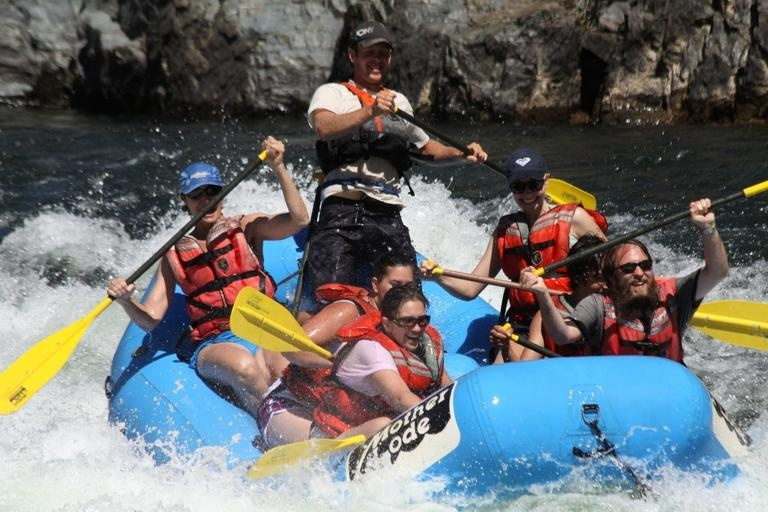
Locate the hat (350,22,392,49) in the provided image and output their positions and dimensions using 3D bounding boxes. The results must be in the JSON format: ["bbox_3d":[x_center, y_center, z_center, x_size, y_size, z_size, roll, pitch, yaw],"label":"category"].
[{"bbox_3d":[-0.115,-1.864,7.275,0.352,0.197,0.260,0,29,-1],"label":"hat"}]

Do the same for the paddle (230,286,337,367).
[{"bbox_3d":[-0.885,0.550,6.783,1.096,0.369,0.118,30,-3,12],"label":"paddle"}]

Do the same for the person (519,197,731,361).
[{"bbox_3d":[1.952,0.236,7.018,1.171,0.505,1.835,-20,39,-10],"label":"person"}]

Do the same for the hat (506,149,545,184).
[{"bbox_3d":[1.186,-0.770,7.179,0.361,0.244,0.484,-9,10,3],"label":"hat"}]
